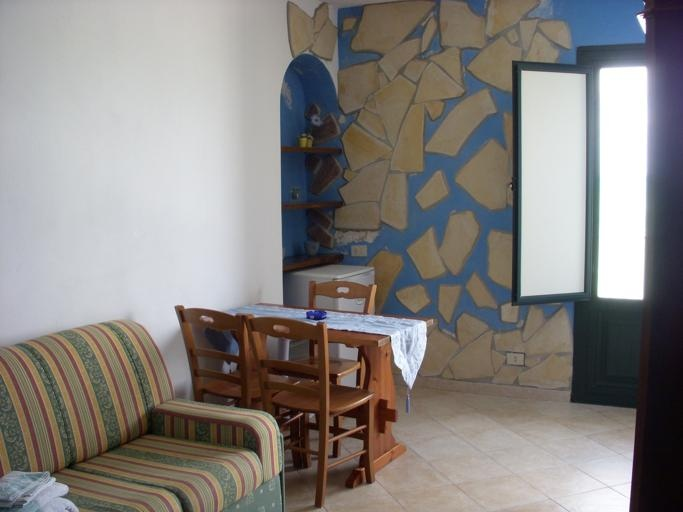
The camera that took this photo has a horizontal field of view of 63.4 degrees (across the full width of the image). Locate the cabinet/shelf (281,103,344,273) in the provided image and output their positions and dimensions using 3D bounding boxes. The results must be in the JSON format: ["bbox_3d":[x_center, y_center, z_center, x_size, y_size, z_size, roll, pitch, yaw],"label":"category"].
[{"bbox_3d":[-0.297,-0.632,4.872,0.450,1.453,0.611,4,9,27],"label":"cabinet/shelf"}]

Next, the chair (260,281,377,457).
[{"bbox_3d":[-0.085,0.713,3.653,0.537,1.116,0.530,0,-1,25],"label":"chair"}]

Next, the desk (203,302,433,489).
[{"bbox_3d":[-0.124,0.829,3.623,1.264,0.900,0.690,4,9,35],"label":"desk"}]

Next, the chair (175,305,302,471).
[{"bbox_3d":[-0.535,0.721,3.187,0.642,1.040,0.703,10,-31,-38],"label":"chair"}]
